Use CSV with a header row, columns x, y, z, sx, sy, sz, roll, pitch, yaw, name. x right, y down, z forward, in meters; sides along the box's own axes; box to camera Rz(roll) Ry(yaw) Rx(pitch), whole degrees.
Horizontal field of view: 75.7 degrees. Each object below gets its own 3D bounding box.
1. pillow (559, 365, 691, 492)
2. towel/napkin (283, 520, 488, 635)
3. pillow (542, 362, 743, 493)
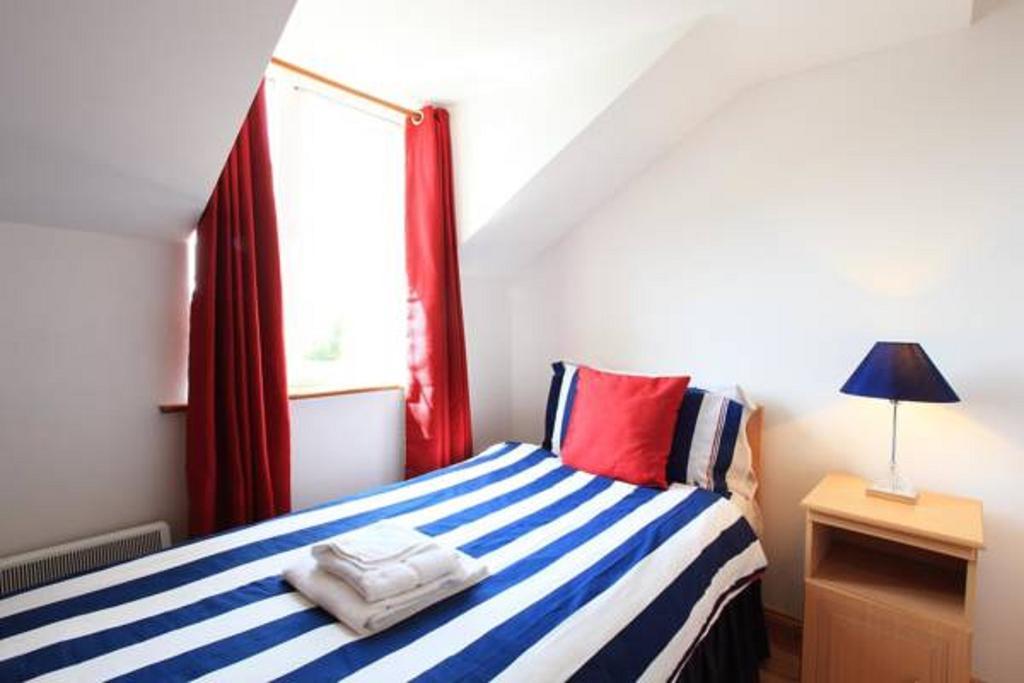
x,y,z,sx,sy,sz,roll,pitch,yaw,name
0.541,0.420,3.302,0.600,0.503,0.290,8,10,34,pillow
-0.435,0.851,2.378,0.401,0.122,0.407,9,13,43,towel/napkin
0.636,0.443,3.481,1.039,0.614,0.354,1,20,45,pillow
